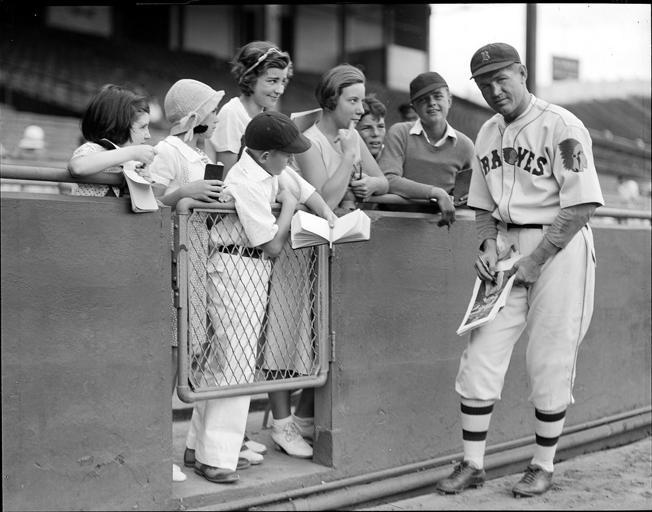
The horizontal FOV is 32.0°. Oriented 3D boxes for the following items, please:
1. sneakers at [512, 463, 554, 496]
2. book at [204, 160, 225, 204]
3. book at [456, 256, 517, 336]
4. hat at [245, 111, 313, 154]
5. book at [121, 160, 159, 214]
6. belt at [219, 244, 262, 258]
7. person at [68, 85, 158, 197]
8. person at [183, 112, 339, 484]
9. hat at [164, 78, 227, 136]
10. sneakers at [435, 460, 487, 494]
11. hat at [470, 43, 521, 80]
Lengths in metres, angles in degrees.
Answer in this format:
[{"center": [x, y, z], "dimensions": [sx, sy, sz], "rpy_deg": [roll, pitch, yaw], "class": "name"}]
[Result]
[{"center": [1.407, 1.482, 7.660], "dimensions": [0.156, 0.182, 0.438], "rpy_deg": [3, 7, 41], "class": "sneakers"}, {"center": [-0.708, -0.464, 7.138], "dimensions": [0.116, 0.225, 0.172], "rpy_deg": [0, 7, -6], "class": "book"}, {"center": [1.067, 0.241, 7.458], "dimensions": [0.367, 0.503, 0.340], "rpy_deg": [2, 7, 13], "class": "book"}, {"center": [-0.304, -0.795, 7.245], "dimensions": [0.427, 0.208, 0.288], "rpy_deg": [3, 26, 5], "class": "hat"}, {"center": [-1.117, -0.406, 6.826], "dimensions": [0.221, 0.277, 0.077], "rpy_deg": [-16, 7, -40], "class": "book"}, {"center": [-0.540, -0.033, 7.228], "dimensions": [0.134, 0.031, 0.138], "rpy_deg": [15, -4, -37], "class": "belt"}, {"center": [-1.321, -0.713, 7.010], "dimensions": [0.500, 0.676, 0.641], "rpy_deg": [-1, 7, -9], "class": "person"}, {"center": [-0.461, 0.239, 7.294], "dimensions": [0.825, 2.300, 0.408], "rpy_deg": [-3, 8, -29], "class": "person"}, {"center": [-0.862, -1.013, 7.561], "dimensions": [0.463, 0.352, 0.362], "rpy_deg": [-15, 6, -11], "class": "hat"}, {"center": [0.902, 1.447, 7.620], "dimensions": [0.429, 0.196, 0.149], "rpy_deg": [-3, 8, -39], "class": "sneakers"}, {"center": [1.095, -1.255, 7.379], "dimensions": [0.208, 0.145, 0.280], "rpy_deg": [-23, -8, 36], "class": "hat"}]
